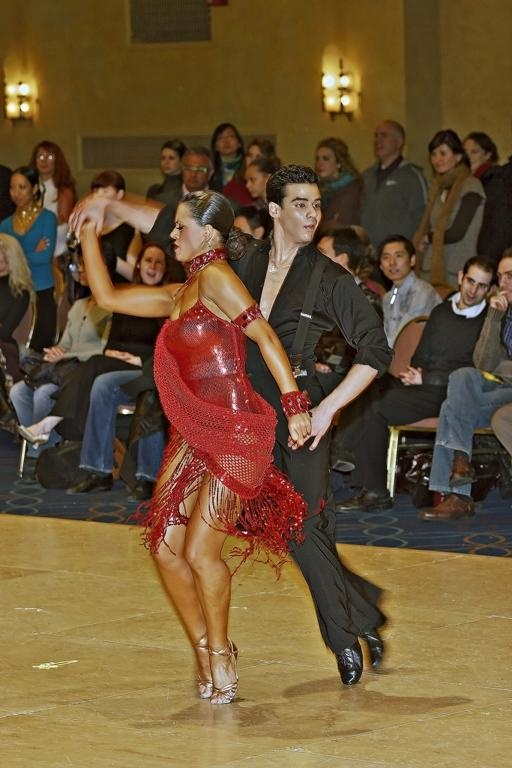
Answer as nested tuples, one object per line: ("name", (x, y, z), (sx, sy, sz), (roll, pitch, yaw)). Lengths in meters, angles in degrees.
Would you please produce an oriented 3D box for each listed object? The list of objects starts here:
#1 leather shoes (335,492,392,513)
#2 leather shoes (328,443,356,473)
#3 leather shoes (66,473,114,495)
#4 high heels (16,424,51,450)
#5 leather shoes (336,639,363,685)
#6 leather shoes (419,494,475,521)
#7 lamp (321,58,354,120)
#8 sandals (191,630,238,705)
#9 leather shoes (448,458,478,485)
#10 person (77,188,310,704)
("leather shoes", (0.835, 0.907, 5.112), (0.482, 0.199, 0.151), (1, 1, -8))
("leather shoes", (0.624, 0.576, 5.047), (0.244, 0.158, 0.074), (22, -31, 9))
("leather shoes", (-1.403, 0.862, 5.705), (0.457, 0.169, 0.144), (1, 0, -14))
("high heels", (-2.007, 0.471, 6.009), (0.303, 0.157, 0.108), (26, 40, 31))
("leather shoes", (0.267, 0.793, 1.856), (0.067, 0.139, 0.050), (7, -20, -34))
("leather shoes", (1.377, 0.877, 4.718), (0.432, 0.261, 0.159), (2, -2, -3))
("lamp", (1.441, -5.094, 11.372), (0.607, 1.003, 0.254), (0, -4, 8))
("sandals", (-0.109, 0.736, 1.742), (0.079, 0.081, 0.213), (-3, 21, 2))
("leather shoes", (1.438, 0.609, 4.597), (0.186, 0.214, 0.106), (0, -4, -1))
("person", (-0.136, 0.157, 1.779), (0.632, 1.352, 0.343), (-3, -5, 37))
